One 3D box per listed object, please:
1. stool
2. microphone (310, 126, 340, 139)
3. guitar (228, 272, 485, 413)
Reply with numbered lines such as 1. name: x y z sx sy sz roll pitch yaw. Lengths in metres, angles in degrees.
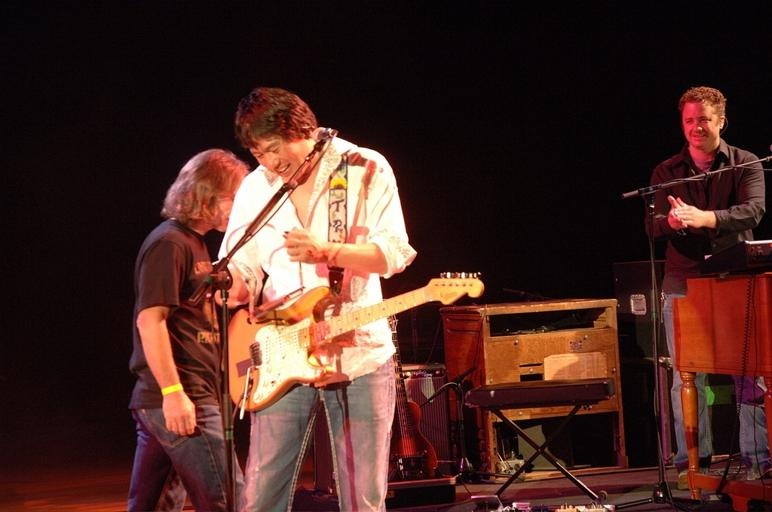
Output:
1. stool: 1.273 1.589 5.890 0.906 0.797 0.481 -5 -14 5
2. microphone: -0.319 -0.671 3.842 0.089 0.044 0.148 0 5 14
3. guitar: -0.162 0.572 4.344 1.253 0.483 0.177 -16 -5 3
